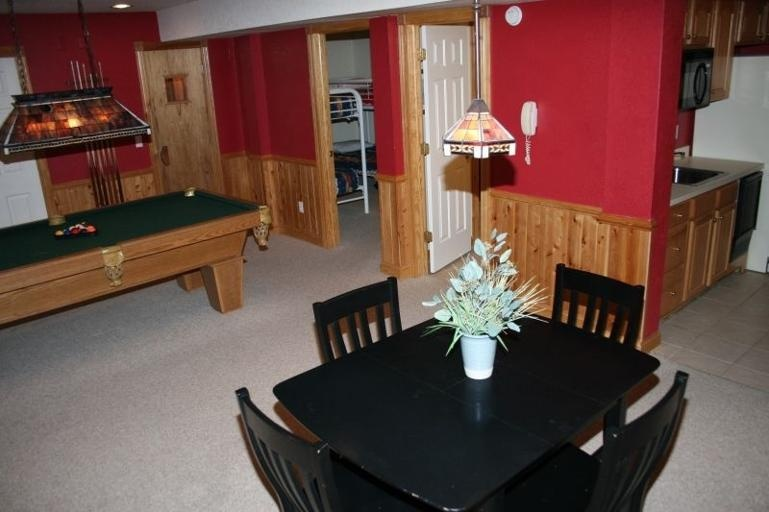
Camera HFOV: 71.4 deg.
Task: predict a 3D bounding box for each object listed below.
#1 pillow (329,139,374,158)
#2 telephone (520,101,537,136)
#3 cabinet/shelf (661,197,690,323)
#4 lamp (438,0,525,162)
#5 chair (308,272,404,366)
[{"bbox_3d":[-0.605,-1.912,9.463,0.547,0.139,0.583,-15,22,-41],"label":"pillow"},{"bbox_3d":[1.255,-1.188,4.620,0.122,0.351,0.281,5,14,25],"label":"telephone"},{"bbox_3d":[2.624,0.016,4.788,0.152,0.995,0.477,16,30,39],"label":"cabinet/shelf"},{"bbox_3d":[0.555,-0.956,3.044,0.408,0.914,0.779,0,23,9],"label":"lamp"},{"bbox_3d":[-0.213,0.479,3.948,0.470,0.798,0.483,-17,29,-27],"label":"chair"}]
